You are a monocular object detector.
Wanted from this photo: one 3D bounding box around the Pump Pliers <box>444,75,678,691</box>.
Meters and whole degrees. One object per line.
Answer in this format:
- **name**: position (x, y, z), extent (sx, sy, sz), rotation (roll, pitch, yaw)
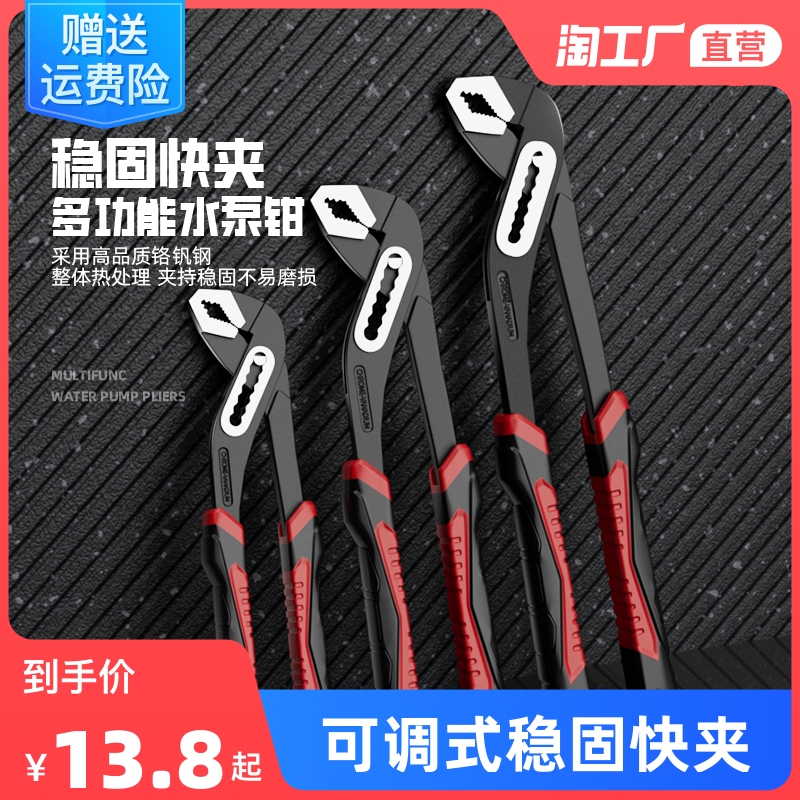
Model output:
- **Pump Pliers**: position (0.179, -0.021, 1.136), extent (0.150, 0.693, 0.188), rotation (-7, -13, 24)
